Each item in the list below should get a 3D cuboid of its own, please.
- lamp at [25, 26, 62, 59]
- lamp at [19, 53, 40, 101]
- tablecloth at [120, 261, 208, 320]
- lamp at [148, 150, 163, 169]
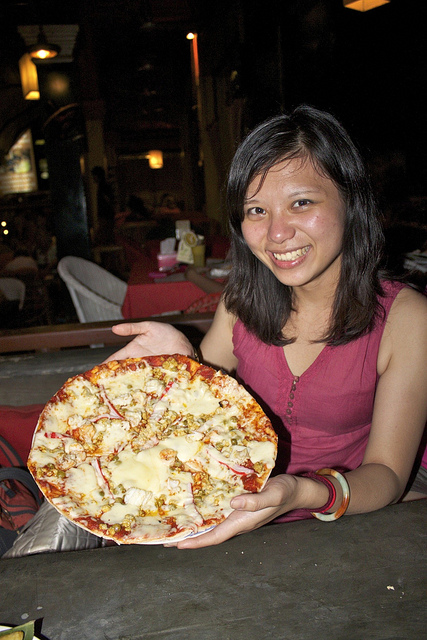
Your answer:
[{"bbox_3d":[-1.472,-2.371,4.738,0.286,0.249,0.262,0,21,1],"label":"lamp"},{"bbox_3d":[-1.645,-2.157,4.901,0.115,0.365,0.204,-20,27,-36],"label":"lamp"},{"bbox_3d":[-0.299,-0.135,3.038,0.361,0.119,0.331,-7,23,-5],"label":"tablecloth"},{"bbox_3d":[-0.618,-1.696,5.814,0.184,0.193,0.058,-21,28,-40],"label":"lamp"}]
